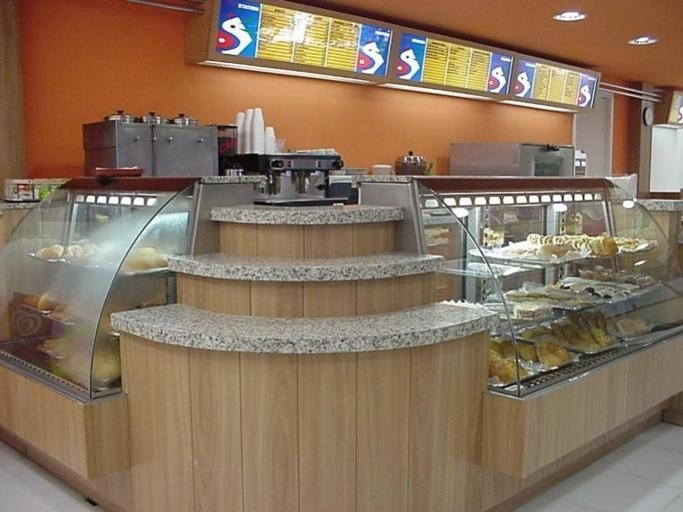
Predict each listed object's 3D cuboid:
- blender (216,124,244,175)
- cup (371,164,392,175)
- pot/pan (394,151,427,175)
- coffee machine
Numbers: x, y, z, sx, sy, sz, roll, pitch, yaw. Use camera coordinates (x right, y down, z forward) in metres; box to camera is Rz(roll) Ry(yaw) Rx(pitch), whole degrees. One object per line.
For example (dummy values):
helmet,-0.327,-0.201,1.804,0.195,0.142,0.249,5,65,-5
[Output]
blender,-0.943,-0.837,4.331,0.208,0.369,0.237,22,18,35
cup,0.427,-0.866,5.324,0.175,0.079,0.219,-1,-4,42
pot/pan,0.769,-0.988,5.905,0.360,0.264,0.347,3,10,25
coffee machine,-0.234,-0.406,2.869,0.467,0.227,0.322,-6,9,-38
